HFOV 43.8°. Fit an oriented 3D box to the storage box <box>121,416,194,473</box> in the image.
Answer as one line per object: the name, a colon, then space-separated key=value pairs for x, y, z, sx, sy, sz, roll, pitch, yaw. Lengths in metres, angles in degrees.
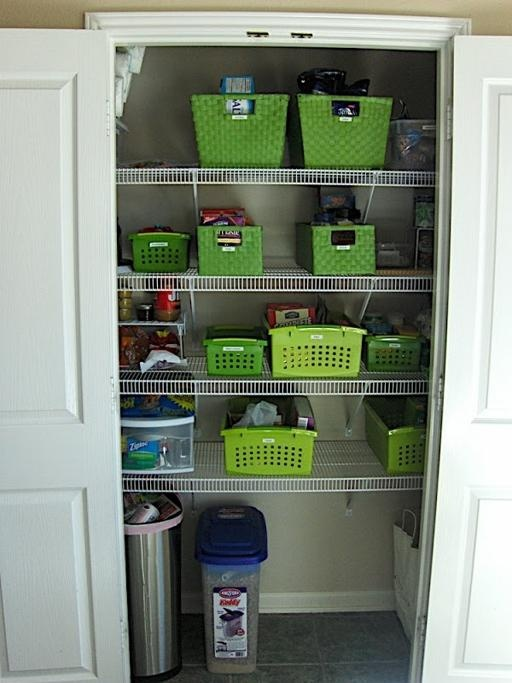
storage box: x=-0.319 y=0.347 z=2.088 sx=0.302 sy=0.216 sz=0.174 roll=0 pitch=5 yaw=-6
